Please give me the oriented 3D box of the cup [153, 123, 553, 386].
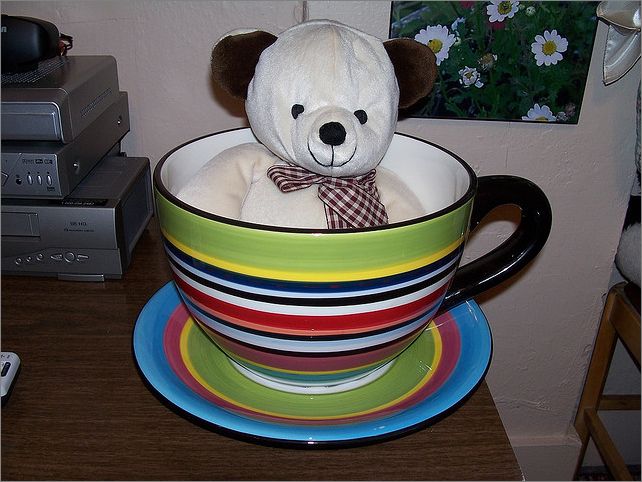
[{"bbox_3d":[0.024,0.035,0.531,0.308,0.153,0.244,2,26,-2],"label":"cup"}]
